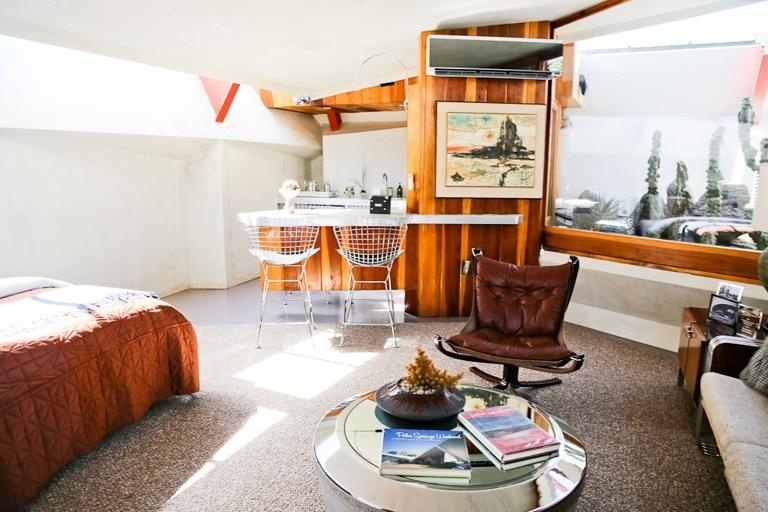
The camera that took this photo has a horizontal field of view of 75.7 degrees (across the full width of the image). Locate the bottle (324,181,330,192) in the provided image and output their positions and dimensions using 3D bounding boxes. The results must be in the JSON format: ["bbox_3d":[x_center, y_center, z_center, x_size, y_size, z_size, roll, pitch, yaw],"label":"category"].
[{"bbox_3d":[-1.122,-1.363,9.669,0.102,0.185,0.426,-4,12,-7],"label":"bottle"}]

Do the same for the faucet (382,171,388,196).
[{"bbox_3d":[0.023,-1.382,9.338,0.106,0.380,0.132,-2,13,1],"label":"faucet"}]

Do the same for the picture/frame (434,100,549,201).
[{"bbox_3d":[1.260,-1.314,5.898,1.282,0.962,0.044,1,7,0],"label":"picture/frame"}]

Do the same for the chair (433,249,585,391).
[{"bbox_3d":[1.250,0.582,4.700,1.482,1.289,1.279,2,5,21],"label":"chair"}]

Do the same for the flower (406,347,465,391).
[{"bbox_3d":[0.371,0.757,3.458,0.404,0.247,0.315,5,-2,-33],"label":"flower"}]

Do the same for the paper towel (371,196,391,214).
[{"bbox_3d":[-0.050,-0.650,6.281,0.250,0.168,0.241,3,12,9],"label":"paper towel"}]

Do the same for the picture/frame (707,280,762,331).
[{"bbox_3d":[3.033,0.440,4.264,0.155,0.357,0.389,-4,11,-31],"label":"picture/frame"}]

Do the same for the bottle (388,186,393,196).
[{"bbox_3d":[0.119,-1.234,9.326,0.130,0.167,0.085,-3,13,-2],"label":"bottle"}]

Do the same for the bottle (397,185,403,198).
[{"bbox_3d":[0.296,-1.218,9.248,0.127,0.229,0.152,-2,12,1],"label":"bottle"}]

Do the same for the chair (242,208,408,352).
[{"bbox_3d":[-0.606,0.510,6.411,2.421,1.555,1.640,1,17,4],"label":"chair"}]
